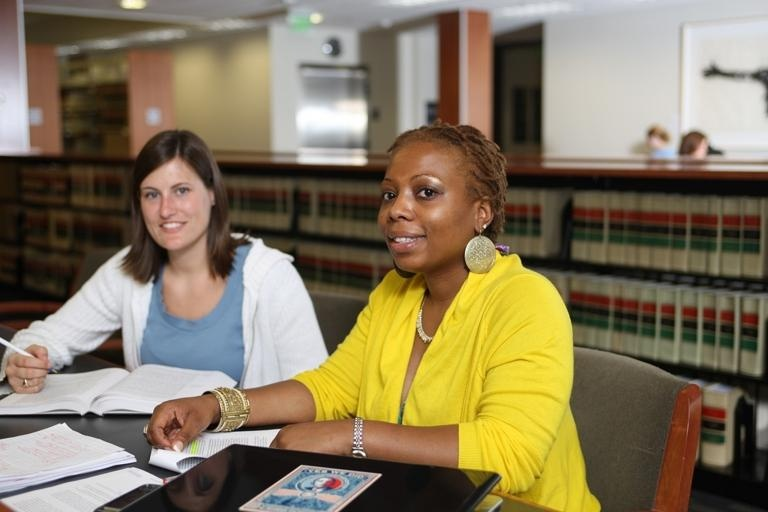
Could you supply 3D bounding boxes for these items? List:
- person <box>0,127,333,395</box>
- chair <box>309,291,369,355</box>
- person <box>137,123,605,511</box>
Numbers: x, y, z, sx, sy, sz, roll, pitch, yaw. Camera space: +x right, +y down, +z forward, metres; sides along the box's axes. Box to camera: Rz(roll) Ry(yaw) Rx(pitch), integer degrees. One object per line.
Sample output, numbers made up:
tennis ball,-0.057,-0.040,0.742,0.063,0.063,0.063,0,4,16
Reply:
person,-0.662,0.119,2.521,1.264,1.144,0.884,-1,4,9
chair,-0.175,0.248,2.402,0.220,0.265,0.210,0,3,-6
person,-0.022,0.087,2.150,1.135,1.583,0.948,7,-6,-35
